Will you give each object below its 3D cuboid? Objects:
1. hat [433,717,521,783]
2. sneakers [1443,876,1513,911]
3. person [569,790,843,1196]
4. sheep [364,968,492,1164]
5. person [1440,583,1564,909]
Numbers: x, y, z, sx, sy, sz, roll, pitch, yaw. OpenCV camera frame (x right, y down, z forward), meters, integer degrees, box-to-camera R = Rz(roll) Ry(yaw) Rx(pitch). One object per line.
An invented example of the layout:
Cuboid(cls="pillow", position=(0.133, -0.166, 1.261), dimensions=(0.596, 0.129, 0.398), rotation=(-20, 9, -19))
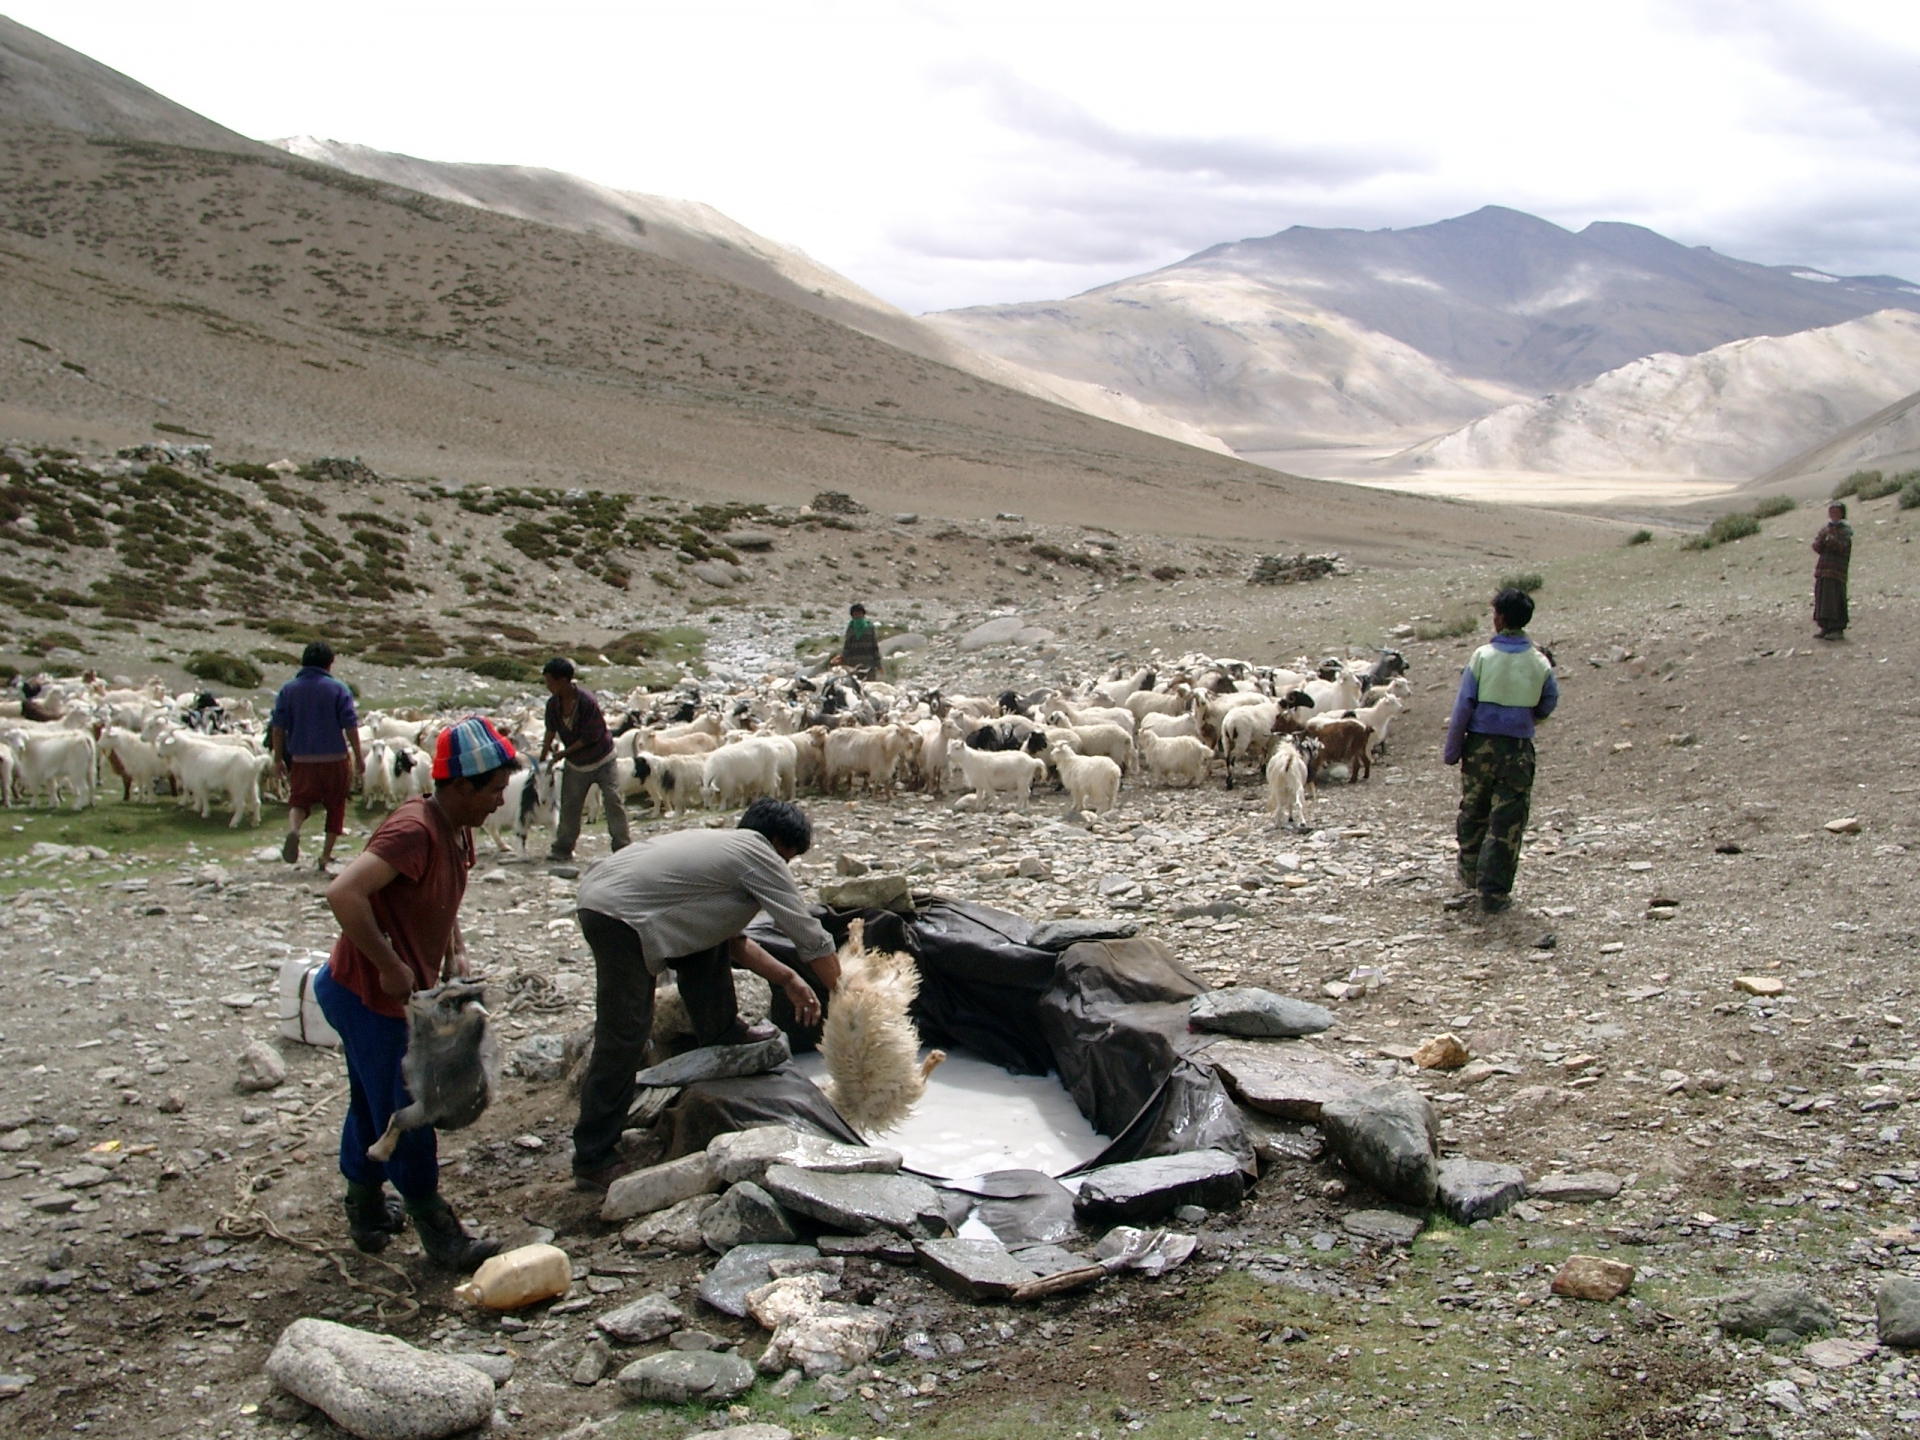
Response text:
Cuboid(cls="hat", position=(-2.607, 0.150, 8.034), dimensions=(0.512, 0.213, 0.400), rotation=(-3, 8, -6))
Cuboid(cls="sneakers", position=(4.254, 1.457, 12.238), dimensions=(0.320, 0.144, 0.363), rotation=(1, -26, 31))
Cuboid(cls="person", position=(-1.636, 1.680, 9.229), dimensions=(1.613, 2.361, 0.988), rotation=(0, 3, 1))
Cuboid(cls="sheep", position=(-2.859, 1.925, 8.063), dimensions=(0.628, 0.986, 0.346), rotation=(0, 3, -15))
Cuboid(cls="person", position=(4.316, 0.246, 11.918), dimensions=(0.790, 2.611, 0.900), rotation=(1, 4, 15))
